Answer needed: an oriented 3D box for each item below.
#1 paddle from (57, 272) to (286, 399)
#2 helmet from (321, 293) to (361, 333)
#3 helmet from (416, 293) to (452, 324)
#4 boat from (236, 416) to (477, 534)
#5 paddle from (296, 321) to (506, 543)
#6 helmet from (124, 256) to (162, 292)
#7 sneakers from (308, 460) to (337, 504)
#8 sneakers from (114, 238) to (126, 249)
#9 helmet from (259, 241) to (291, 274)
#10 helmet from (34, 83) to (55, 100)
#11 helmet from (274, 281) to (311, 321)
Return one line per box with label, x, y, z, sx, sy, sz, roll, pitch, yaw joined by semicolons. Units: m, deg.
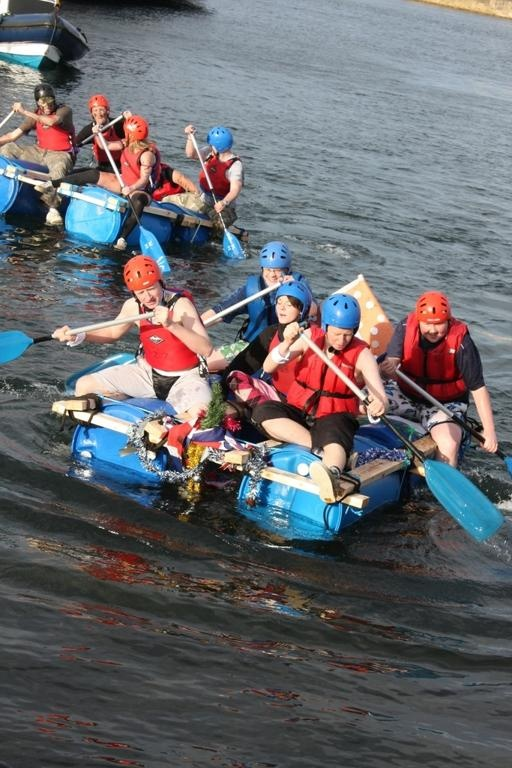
paddle;-0.777;-0.300;6.734;1.141;0.947;0.774;7;23;23
helmet;0.547;-0.439;6.270;0.240;0.298;0.305;4;32;-1
helmet;1.270;-0.549;6.959;0.225;0.221;0.265;2;19;6
boat;0.656;0.539;6.698;0.987;0.458;1.596;16;18;28
paddle;0.961;0.363;6.625;2.376;0.113;0.350;38;79;6
helmet;-0.761;-0.704;6.385;0.236;0.289;0.242;1;33;-5
sneakers;0.434;0.595;5.837;0.149;0.262;0.125;2;26;37
sneakers;-1.717;-1.773;12.184;0.149;0.124;0.141;9;-4;21
helmet;0.153;-1.016;7.749;0.229;0.221;0.255;4;39;7
helmet;-2.828;-3.860;12.678;0.250;0.250;0.270;0;29;-1
helmet;0.247;-0.561;6.436;0.210;0.292;0.288;9;33;6
